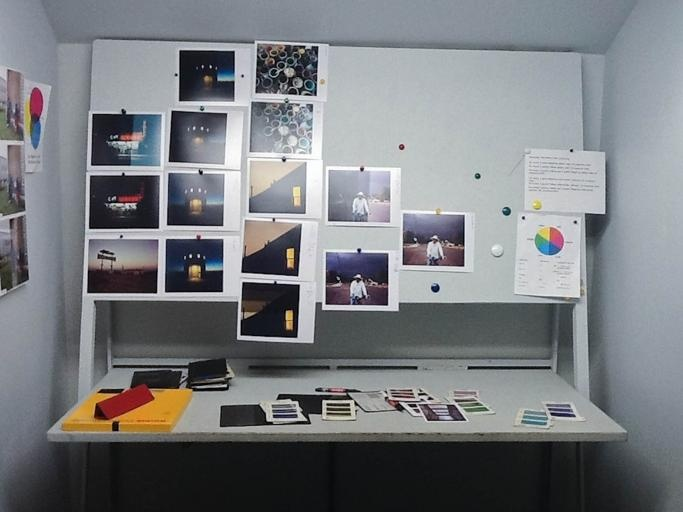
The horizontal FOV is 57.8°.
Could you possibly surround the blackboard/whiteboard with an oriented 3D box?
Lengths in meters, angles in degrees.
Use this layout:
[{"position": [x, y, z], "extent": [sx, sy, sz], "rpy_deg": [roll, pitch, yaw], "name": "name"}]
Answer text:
[{"position": [0.390, -0.451, 3.482], "extent": [1.853, 1.058, 0.466], "rpy_deg": [1, 6, 0], "name": "blackboard/whiteboard"}]
